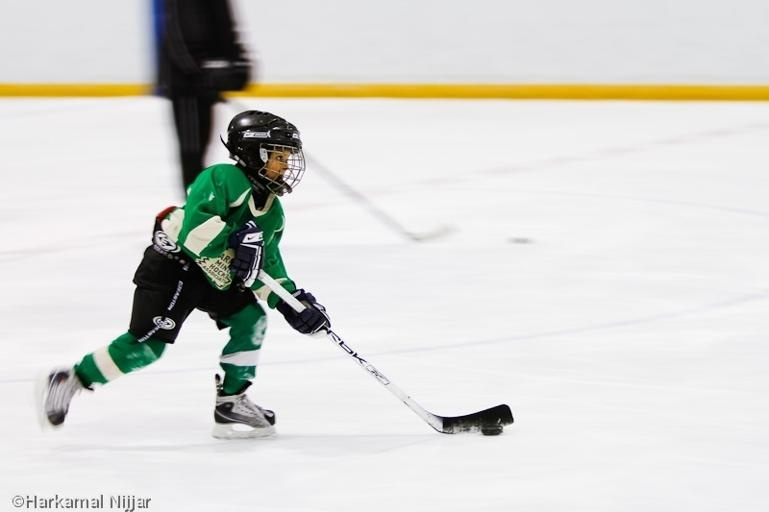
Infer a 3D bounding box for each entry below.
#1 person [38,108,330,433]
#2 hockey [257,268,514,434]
[{"bbox_3d":[-0.757,0.070,3.964,1.070,1.312,0.311,1,12,-7],"label":"person"},{"bbox_3d":[-0.005,0.450,4.404,1.437,0.131,0.200,24,3,25],"label":"hockey"}]
